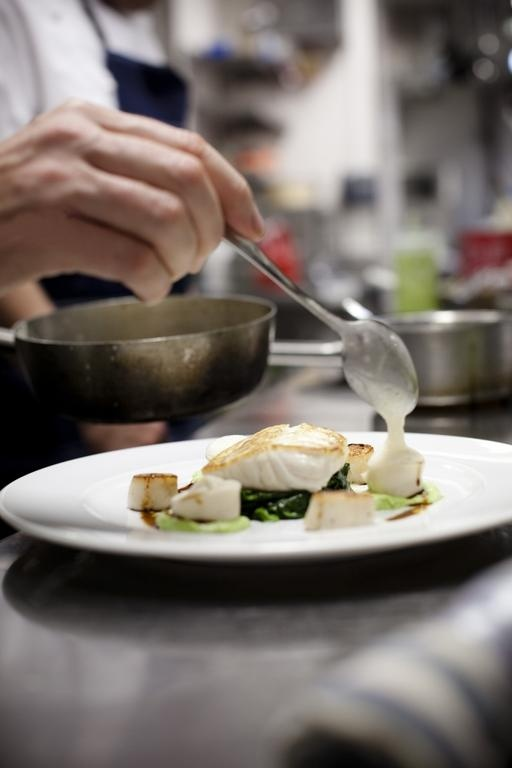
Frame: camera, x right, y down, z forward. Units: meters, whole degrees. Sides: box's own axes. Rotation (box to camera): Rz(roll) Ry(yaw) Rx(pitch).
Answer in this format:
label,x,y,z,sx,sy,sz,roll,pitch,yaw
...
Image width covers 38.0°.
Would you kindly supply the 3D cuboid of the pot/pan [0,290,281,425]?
label,x,y,z,sx,sy,sz,roll,pitch,yaw
pot/pan,-0.089,-0.030,0.705,0.223,0.097,0.306,-5,9,2
